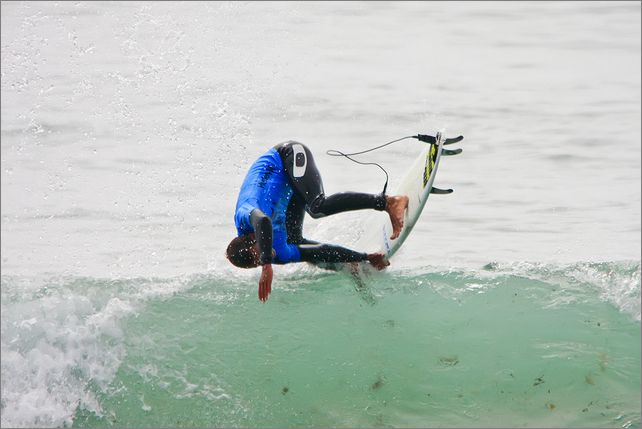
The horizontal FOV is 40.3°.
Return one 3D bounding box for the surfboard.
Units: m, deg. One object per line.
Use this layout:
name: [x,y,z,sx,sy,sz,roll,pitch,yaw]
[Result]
surfboard: [1.372,-0.195,13.049,0.480,2.889,0.824,9,49,-27]
